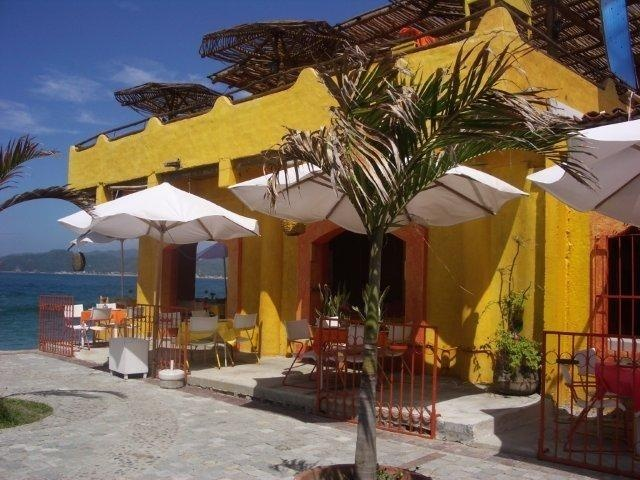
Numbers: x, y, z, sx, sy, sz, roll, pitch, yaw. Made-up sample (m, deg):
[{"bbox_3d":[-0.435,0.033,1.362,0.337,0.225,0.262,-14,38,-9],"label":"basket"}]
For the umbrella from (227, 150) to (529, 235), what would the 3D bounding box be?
[{"bbox_3d":[0.917,-0.703,9.447,4.253,1.070,2.723,-1,0,18],"label":"umbrella"}]

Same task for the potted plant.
[{"bbox_3d":[3.248,1.252,10.013,0.764,2.584,0.822,-1,1,14],"label":"potted plant"}]

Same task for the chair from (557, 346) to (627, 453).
[{"bbox_3d":[3.882,2.091,8.499,0.845,1.405,2.541,-1,0,23],"label":"chair"}]
